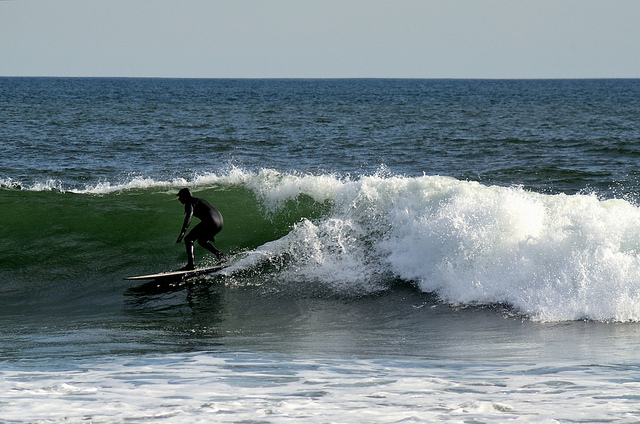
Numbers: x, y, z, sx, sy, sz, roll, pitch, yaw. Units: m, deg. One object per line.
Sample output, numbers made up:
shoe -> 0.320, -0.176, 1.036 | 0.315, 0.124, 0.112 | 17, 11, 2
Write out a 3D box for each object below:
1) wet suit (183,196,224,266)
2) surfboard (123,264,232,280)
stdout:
wet suit -> -3.406, 0.494, 31.516 | 1.303, 1.845, 0.836 | 2, -4, -22
surfboard -> -4.058, 1.730, 31.691 | 2.894, 0.369, 0.617 | -1, -4, -7
